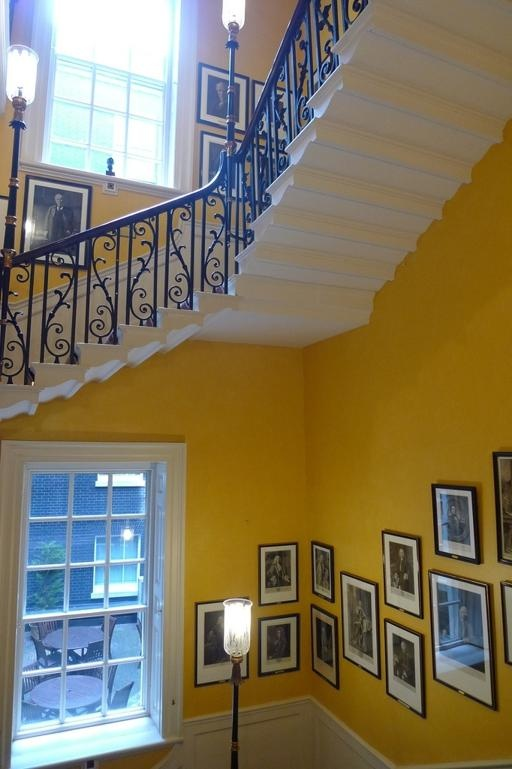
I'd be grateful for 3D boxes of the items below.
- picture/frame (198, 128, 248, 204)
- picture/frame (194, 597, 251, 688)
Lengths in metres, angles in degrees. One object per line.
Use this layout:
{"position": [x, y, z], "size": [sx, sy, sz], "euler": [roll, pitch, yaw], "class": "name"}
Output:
{"position": [-0.307, -2.234, 5.900], "size": [0.437, 0.693, 0.041], "euler": [-14, 25, -40], "class": "picture/frame"}
{"position": [-0.281, 2.070, 4.720], "size": [0.437, 0.734, 0.024], "euler": [-1, 12, -9], "class": "picture/frame"}
